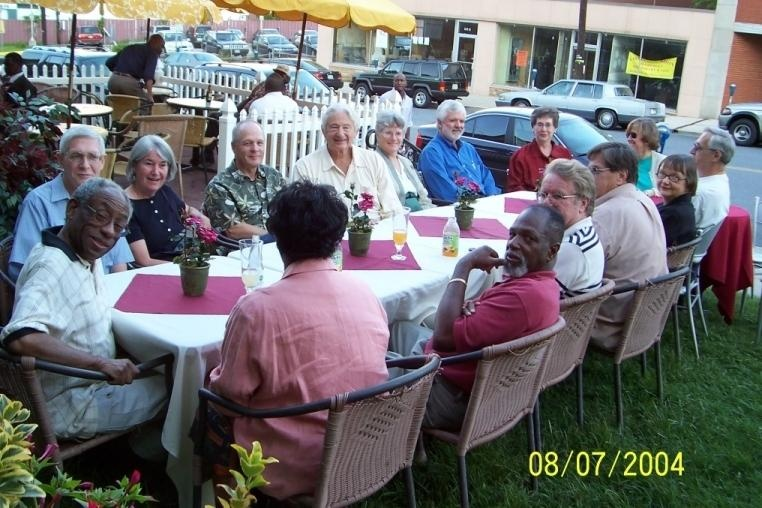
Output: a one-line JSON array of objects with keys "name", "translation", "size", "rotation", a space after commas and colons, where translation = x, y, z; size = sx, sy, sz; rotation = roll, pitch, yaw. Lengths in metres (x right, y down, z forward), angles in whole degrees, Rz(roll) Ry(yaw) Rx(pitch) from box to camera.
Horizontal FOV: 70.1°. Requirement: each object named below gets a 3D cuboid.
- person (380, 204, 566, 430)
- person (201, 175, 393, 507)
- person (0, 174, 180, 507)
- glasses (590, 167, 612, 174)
[{"name": "person", "translation": [0.559, 0.317, 3.032], "size": [0.850, 1.236, 0.631], "rotation": [8, 8, 21]}, {"name": "person", "translation": [-0.334, 0.447, 2.351], "size": [0.756, 1.505, 0.425], "rotation": [3, 8, -18]}, {"name": "person", "translation": [-1.392, 0.363, 2.623], "size": [0.710, 1.448, 0.499], "rotation": [3, 8, -21]}, {"name": "glasses", "translation": [1.692, -0.651, 4.191], "size": [0.080, 0.026, 0.079], "rotation": [7, 8, -18]}]
